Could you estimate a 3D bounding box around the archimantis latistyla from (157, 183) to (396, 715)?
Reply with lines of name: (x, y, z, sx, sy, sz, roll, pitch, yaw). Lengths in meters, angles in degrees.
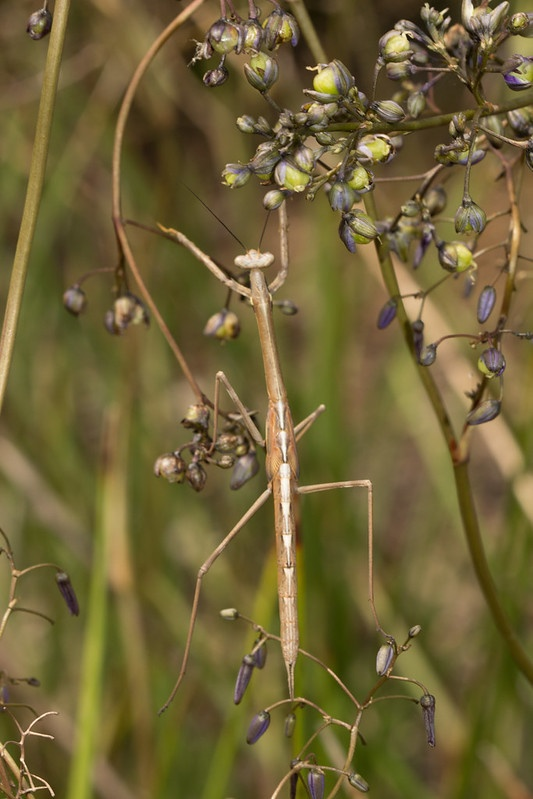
archimantis latistyla: (-0.003, 0.068, 1.663, 0.397, 0.929, 0.323, -3, -4, -13)
